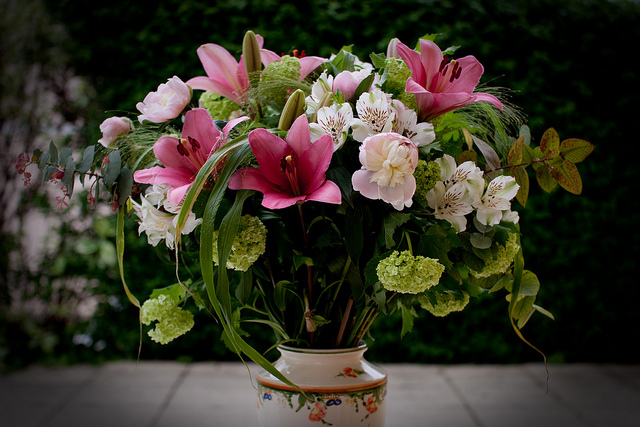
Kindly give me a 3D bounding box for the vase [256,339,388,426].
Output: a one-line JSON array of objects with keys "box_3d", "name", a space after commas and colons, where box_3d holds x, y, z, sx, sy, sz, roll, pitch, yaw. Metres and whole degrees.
[{"box_3d": [0.014, 0.512, 1.833, 0.389, 0.426, 0.227, 0, 86, -1], "name": "vase"}]
